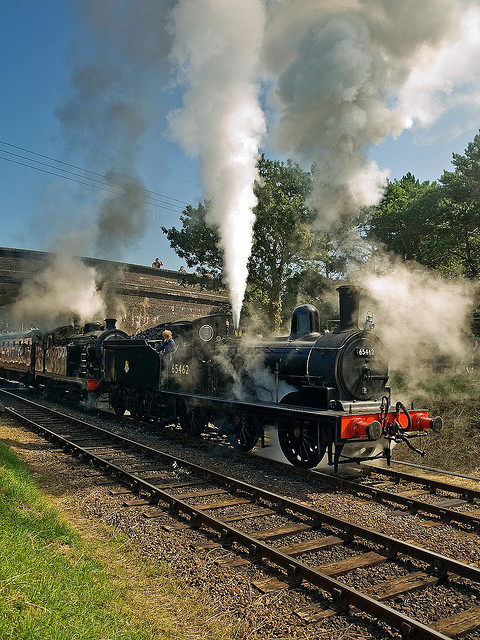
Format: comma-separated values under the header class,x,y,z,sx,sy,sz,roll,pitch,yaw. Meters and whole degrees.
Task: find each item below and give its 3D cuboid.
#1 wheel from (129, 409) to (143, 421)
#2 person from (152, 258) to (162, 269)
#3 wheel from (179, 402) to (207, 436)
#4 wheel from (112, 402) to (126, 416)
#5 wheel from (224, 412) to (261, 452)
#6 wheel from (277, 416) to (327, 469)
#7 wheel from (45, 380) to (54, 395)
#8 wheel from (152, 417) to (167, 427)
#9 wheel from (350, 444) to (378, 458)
class,x,y,z,sx,sy,sz,roll,pitch,yaw
wheel,-2.844,2.564,14.473,0.254,0.267,0.746,5,-4,-22
person,-6.066,-4.147,39.044,0.565,0.732,1.271,4,-4,-11
wheel,-0.983,2.120,11.366,0.157,0.802,0.708,-3,23,-38
wheel,-3.500,2.620,15.417,0.359,0.376,0.376,2,-3,0
wheel,0.052,2.076,9.866,0.179,1.081,0.973,-8,7,-35
wheel,0.990,1.911,8.337,0.228,1.262,1.133,-3,4,-32
wheel,-7.617,2.750,21.231,0.445,0.633,0.191,1,2,43
wheel,-1.951,2.527,13.038,0.172,0.091,0.409,-12,5,-24
wheel,1.974,2.061,8.202,0.245,0.178,0.236,1,1,0
